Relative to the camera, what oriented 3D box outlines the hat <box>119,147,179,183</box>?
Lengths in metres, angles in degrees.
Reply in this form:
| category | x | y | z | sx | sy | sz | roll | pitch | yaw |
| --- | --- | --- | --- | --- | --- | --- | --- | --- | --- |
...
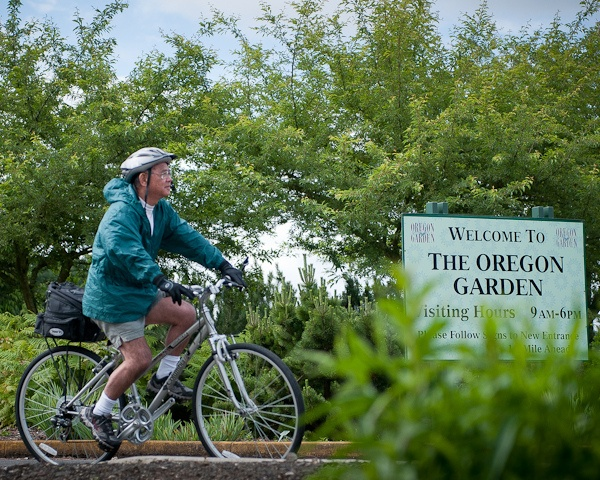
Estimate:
| category | x | y | z | sx | sy | sz | roll | pitch | yaw |
| --- | --- | --- | --- | --- | --- | --- | --- | --- | --- |
| hat | -1.382 | -0.672 | 6.460 | 0.434 | 0.172 | 0.308 | -23 | -2 | -6 |

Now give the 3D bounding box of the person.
| category | x | y | z | sx | sy | sz | roll | pitch | yaw |
| --- | --- | --- | --- | --- | --- | --- | --- | --- | --- |
| person | -1.337 | 0.509 | 6.317 | 1.056 | 2.750 | 0.873 | 9 | -8 | -28 |

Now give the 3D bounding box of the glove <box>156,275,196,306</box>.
| category | x | y | z | sx | sy | sz | roll | pitch | yaw |
| --- | --- | --- | --- | --- | --- | --- | --- | --- | --- |
| glove | -1.059 | 0.385 | 5.986 | 0.264 | 0.088 | 0.261 | 33 | -25 | 12 |
